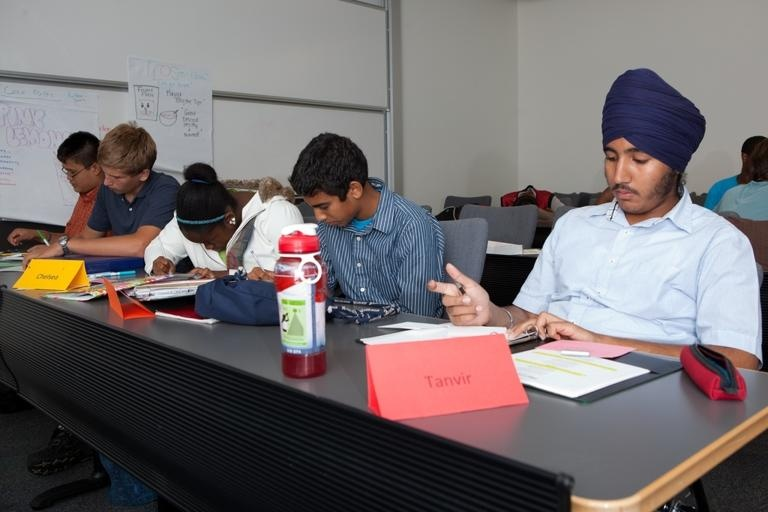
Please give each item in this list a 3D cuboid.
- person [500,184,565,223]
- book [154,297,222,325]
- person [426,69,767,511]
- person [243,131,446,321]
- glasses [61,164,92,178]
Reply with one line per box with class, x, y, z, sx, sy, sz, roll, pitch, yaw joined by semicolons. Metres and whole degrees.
person;1.823;-0.725;5.768;0.838;0.332;0.968;2;5;27
book;-0.566;0.124;1.303;0.095;0.100;0.107;7;5;33
person;0.551;-0.011;1.884;0.942;1.594;1.162;1;0;-29
person;-0.034;-0.078;1.813;0.569;0.770;0.629;-15;20;-20
glasses;-1.995;-0.560;2.977;0.154;0.043;0.154;6;6;35
